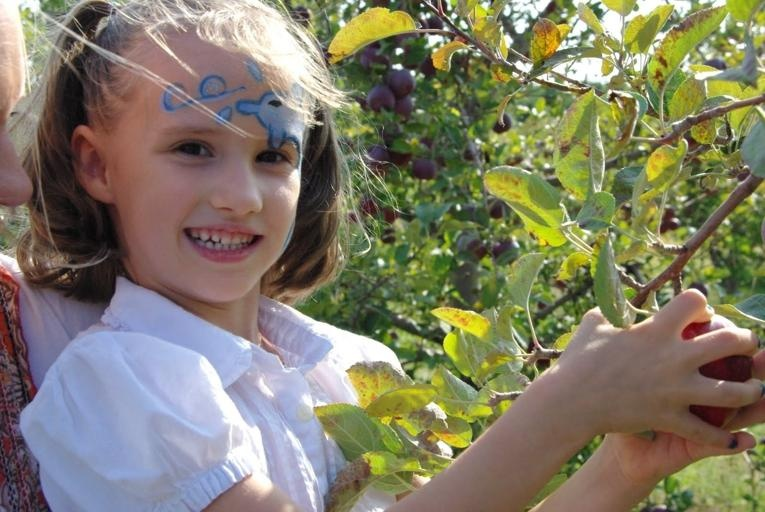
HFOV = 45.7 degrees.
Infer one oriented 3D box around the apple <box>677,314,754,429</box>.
[{"bbox_3d":[0.682,0.235,1.866,0.126,0.145,0.118,47,-42,-7],"label":"apple"}]
